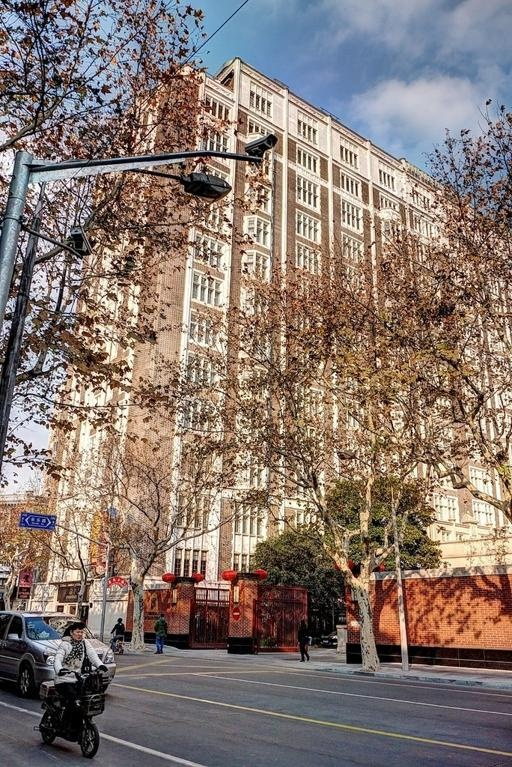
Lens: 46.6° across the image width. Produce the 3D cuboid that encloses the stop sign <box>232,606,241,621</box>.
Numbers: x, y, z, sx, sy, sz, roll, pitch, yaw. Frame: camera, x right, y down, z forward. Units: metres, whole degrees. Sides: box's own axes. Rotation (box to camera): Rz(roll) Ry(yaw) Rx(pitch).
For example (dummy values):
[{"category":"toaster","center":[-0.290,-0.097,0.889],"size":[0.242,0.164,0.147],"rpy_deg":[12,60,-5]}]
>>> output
[{"category":"stop sign","center":[-0.977,11.462,29.426],"size":[0.396,0.677,0.609],"rpy_deg":[3,-17,-1]}]

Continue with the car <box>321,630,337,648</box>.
[{"category":"car","center":[5.177,18.347,42.594],"size":[1.041,1.104,2.516],"rpy_deg":[2,-17,4]}]
